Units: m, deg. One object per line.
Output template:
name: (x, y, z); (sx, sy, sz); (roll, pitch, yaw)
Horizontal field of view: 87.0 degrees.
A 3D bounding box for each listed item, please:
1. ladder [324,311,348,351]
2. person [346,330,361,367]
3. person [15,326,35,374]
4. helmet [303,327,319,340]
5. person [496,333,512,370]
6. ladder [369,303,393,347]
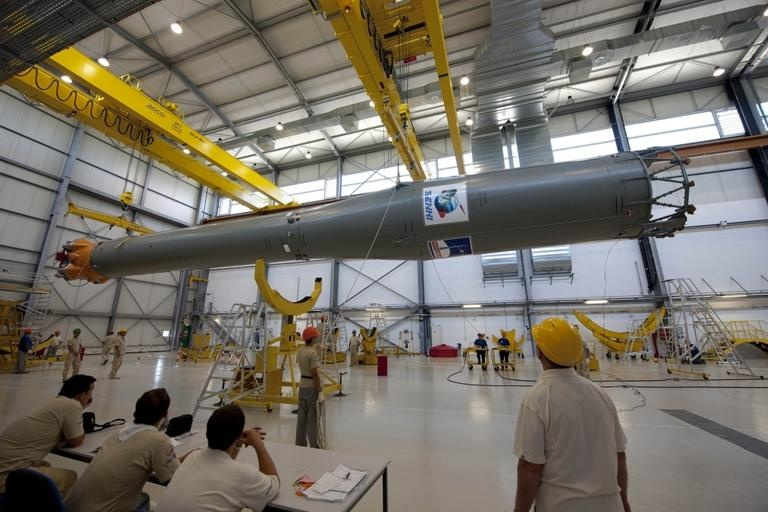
ladder: (-2.211, 3.613, 20.294); (1.670, 1.513, 0.924); (-9, -2, 8)
person: (-1.252, 3.806, 16.550); (0.332, 1.201, 1.279); (-3, -5, -5)
person: (-11.787, 3.066, 13.211); (0.360, 1.379, 1.011); (1, -6, -43)
helmet: (-1.588, 1.631, 8.564); (0.351, 0.178, 0.268); (-6, -4, 29)
person: (4.389, 3.404, 14.841); (0.359, 1.161, 1.570); (-5, -5, 15)
ladder: (-0.290, 3.520, 20.850); (1.023, 2.225, 0.832); (-3, -5, -2)
